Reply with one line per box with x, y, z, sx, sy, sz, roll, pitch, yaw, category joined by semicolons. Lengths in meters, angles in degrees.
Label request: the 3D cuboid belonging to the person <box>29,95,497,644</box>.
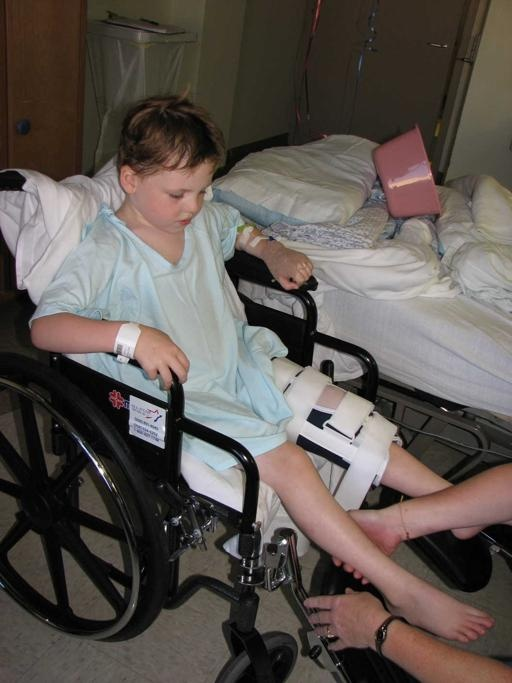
0.022;0.012;0.954;0.839;0.783;0.556;21;35;34;person

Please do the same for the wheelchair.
-0.095;-0.056;1.138;0.974;0.817;0.599;23;51;25;wheelchair

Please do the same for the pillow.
0.205;-0.645;1.938;0.358;0.090;0.600;20;30;14;pillow

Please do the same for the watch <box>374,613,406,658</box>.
0.214;0.475;0.887;0.027;0.044;0.059;33;41;29;watch
